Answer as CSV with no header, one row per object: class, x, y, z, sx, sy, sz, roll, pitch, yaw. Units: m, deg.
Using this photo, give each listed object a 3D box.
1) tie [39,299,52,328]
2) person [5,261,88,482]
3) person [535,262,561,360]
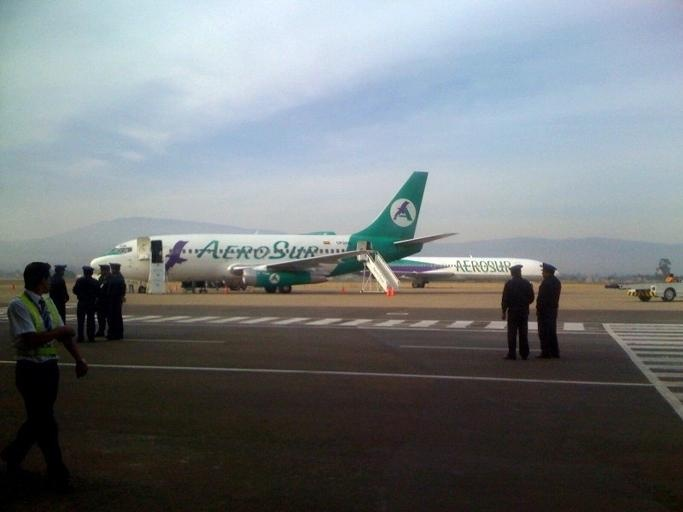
tie,-3.091,0.616,5.848,0.187,0.231,0.062,-1,4,34
person,-3.108,1.200,5.763,0.783,2.211,0.958,-4,5,-30
person,4.727,1.240,12.750,0.514,2.168,1.294,0,4,19
